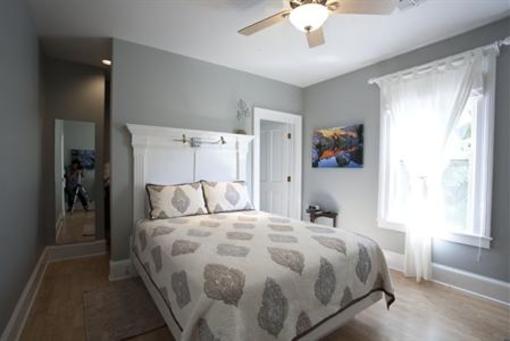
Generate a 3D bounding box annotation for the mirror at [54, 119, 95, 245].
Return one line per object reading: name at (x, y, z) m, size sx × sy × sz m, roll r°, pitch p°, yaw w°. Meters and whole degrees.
mirror at (-2.880, 0.174, 5.008) m, size 0.567 × 1.931 × 0.215 m, roll -2°, pitch 4°, yaw -34°

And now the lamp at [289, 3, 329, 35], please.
lamp at (0.561, -1.548, 3.390) m, size 0.296 × 0.133 × 0.303 m, roll 0°, pitch -6°, yaw -11°
